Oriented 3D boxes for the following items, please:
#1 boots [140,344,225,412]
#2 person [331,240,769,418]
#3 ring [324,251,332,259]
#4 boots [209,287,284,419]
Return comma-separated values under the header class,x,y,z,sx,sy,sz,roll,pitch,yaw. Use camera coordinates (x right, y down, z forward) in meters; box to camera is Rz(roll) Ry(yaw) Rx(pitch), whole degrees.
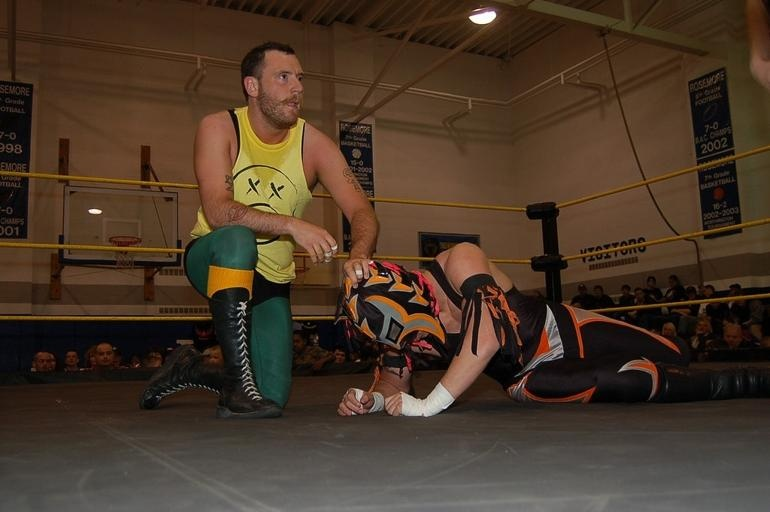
class,x,y,z,sx,sy,sz,roll,pitch,yaw
boots,-0.837,0.463,2.680,0.453,0.188,0.149,3,14,0
person,0.497,0.384,2.495,1.246,0.488,0.782,2,-22,-8
ring,-0.221,0.001,2.473,0.021,0.022,0.022,-1,-2,0
boots,-0.530,0.362,2.384,0.184,0.480,0.230,1,-5,-41
